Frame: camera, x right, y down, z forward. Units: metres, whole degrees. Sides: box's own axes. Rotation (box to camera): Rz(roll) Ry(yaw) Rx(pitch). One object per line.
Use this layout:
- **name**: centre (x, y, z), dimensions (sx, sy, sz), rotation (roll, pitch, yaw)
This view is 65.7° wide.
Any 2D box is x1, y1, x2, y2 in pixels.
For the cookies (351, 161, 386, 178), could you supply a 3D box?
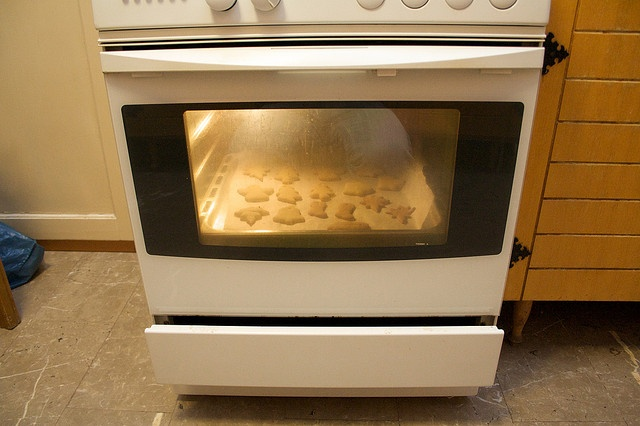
- **cookies**: centre (0.136, -0.119, 1.360), dimensions (0.088, 0.045, 0.008), rotation (-1, 30, 0)

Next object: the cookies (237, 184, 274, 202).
- **cookies**: centre (-0.181, -0.062, 1.398), dimensions (0.090, 0.047, 0.018), rotation (2, 12, 5)

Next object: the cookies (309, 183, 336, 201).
- **cookies**: centre (0.005, -0.057, 1.387), dimensions (0.053, 0.013, 0.051), rotation (-2, 43, -4)

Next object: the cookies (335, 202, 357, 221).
- **cookies**: centre (0.072, -0.006, 1.397), dimensions (0.052, 0.048, 0.012), rotation (2, 8, -4)

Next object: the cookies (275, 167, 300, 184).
- **cookies**: centre (-0.092, -0.105, 1.371), dimensions (0.053, 0.012, 0.048), rotation (3, 53, 1)

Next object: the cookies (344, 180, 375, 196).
- **cookies**: centre (0.108, -0.070, 1.376), dimensions (0.073, 0.040, 0.015), rotation (3, 3, -4)

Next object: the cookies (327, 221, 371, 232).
- **cookies**: centre (0.084, 0.037, 1.403), dimensions (0.090, 0.017, 0.042), rotation (2, 22, 3)

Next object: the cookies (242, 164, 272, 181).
- **cookies**: centre (-0.176, -0.115, 1.373), dimensions (0.043, 0.049, 0.012), rotation (-2, 19, 1)
